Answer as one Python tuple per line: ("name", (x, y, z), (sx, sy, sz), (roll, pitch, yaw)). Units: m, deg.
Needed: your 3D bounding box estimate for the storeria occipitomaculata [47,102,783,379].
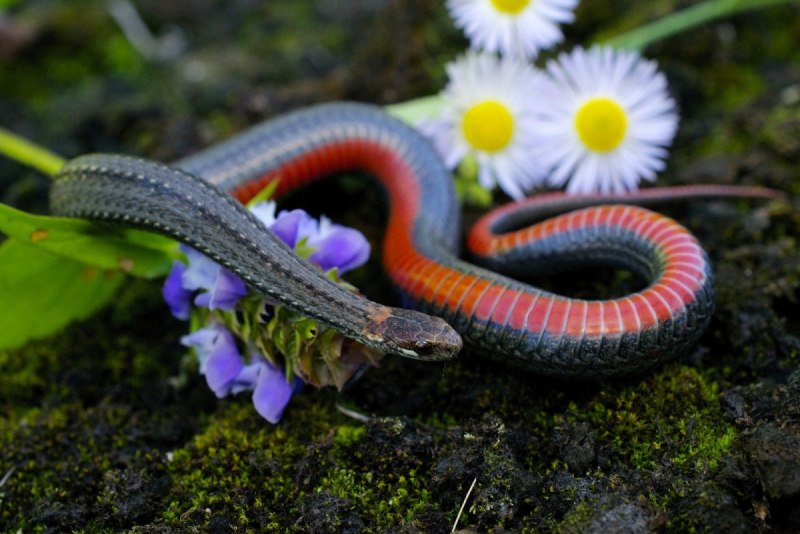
("storeria occipitomaculata", (-0.033, -0.058, 3.579), (2.575, 0.489, 1.431), (7, 35, 10))
